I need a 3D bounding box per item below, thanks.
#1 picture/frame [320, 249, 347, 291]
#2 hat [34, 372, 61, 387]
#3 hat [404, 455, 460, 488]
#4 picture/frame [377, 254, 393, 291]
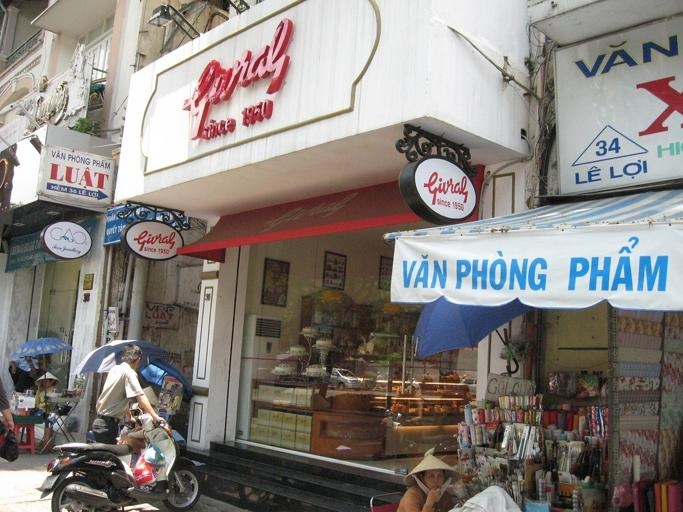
[{"bbox_3d":[-0.121,0.260,11.119,0.463,0.651,0.315,-3,12,41],"label":"picture/frame"},{"bbox_3d":[-6.037,2.560,12.809,0.384,0.178,0.378,17,-31,-32],"label":"hat"},{"bbox_3d":[0.906,2.176,6.455,0.551,0.302,0.478,6,-1,-15],"label":"hat"},{"bbox_3d":[0.746,0.289,10.600,0.223,0.560,0.414,-8,10,19],"label":"picture/frame"}]
